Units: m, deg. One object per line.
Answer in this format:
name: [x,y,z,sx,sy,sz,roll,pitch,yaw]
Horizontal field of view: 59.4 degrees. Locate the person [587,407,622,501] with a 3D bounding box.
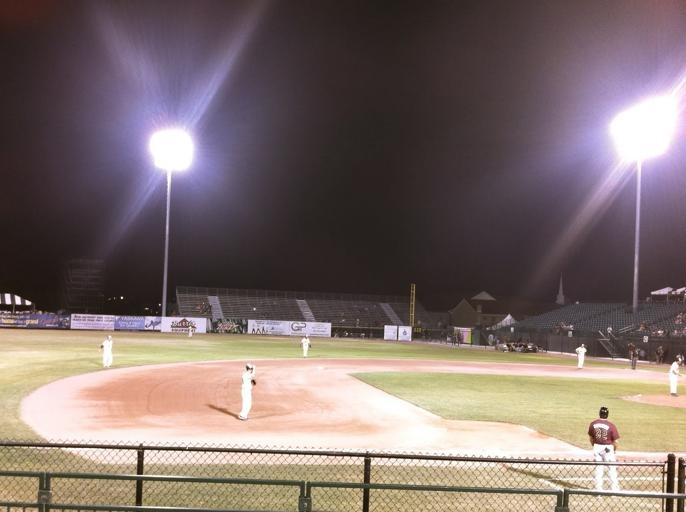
person: [6.402,4.719,14.782,0.716,2.125,0.593,1,10,16]
